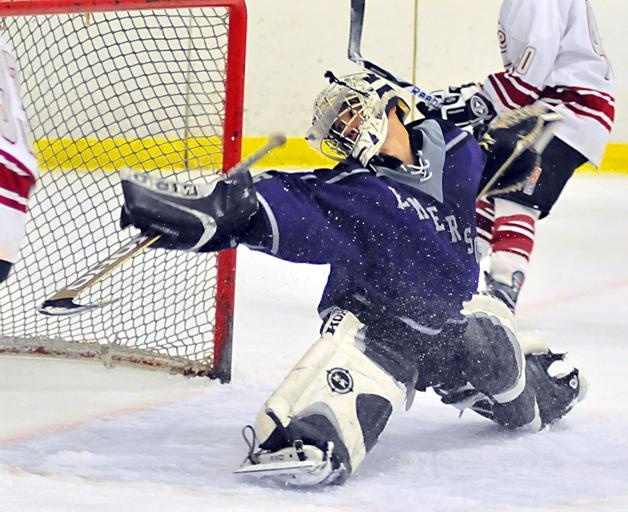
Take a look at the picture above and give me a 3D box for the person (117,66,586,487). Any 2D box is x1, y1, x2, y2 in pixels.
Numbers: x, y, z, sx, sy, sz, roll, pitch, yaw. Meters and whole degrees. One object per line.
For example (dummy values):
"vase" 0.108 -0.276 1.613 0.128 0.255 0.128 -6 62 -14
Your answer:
"person" 0.492 -0.002 2.207 0.581 1.088 1.777 3 10 45

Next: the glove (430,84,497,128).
"glove" 0.568 -0.562 3.134 0.293 0.205 0.127 -1 -14 -20
